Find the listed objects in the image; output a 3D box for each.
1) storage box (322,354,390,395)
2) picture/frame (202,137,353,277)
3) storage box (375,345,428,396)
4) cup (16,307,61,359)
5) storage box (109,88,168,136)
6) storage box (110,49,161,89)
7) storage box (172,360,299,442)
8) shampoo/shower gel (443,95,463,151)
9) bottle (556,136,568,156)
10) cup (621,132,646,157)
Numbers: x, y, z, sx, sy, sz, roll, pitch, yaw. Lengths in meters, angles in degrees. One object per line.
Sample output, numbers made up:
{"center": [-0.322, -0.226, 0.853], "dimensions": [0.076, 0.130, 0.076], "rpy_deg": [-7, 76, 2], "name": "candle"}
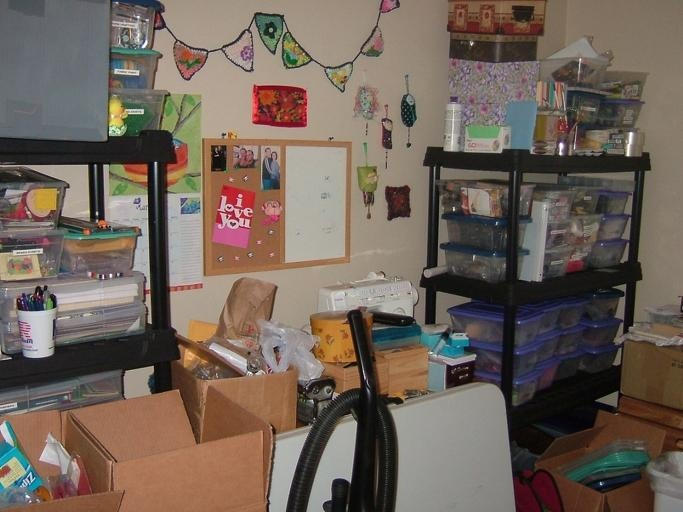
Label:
{"center": [0.042, 0.451, 2.036], "dimensions": [0.215, 0.142, 0.160], "rpy_deg": [-5, -7, 1], "name": "storage box"}
{"center": [-0.299, -0.221, 2.384], "dimensions": [0.623, 0.502, 0.026], "rpy_deg": [-1, 4, -36], "name": "picture/frame"}
{"center": [0.277, 0.470, 2.135], "dimensions": [0.240, 0.182, 0.125], "rpy_deg": [-19, -34, 39], "name": "storage box"}
{"center": [-0.845, 0.205, 1.579], "dimensions": [0.130, 0.147, 0.130], "rpy_deg": [0, 7, 0], "name": "cup"}
{"center": [-0.598, -0.419, 1.625], "dimensions": [0.164, 0.128, 0.052], "rpy_deg": [-6, 11, -22], "name": "storage box"}
{"center": [-0.632, -0.541, 1.678], "dimensions": [0.156, 0.119, 0.129], "rpy_deg": [2, -9, -12], "name": "storage box"}
{"center": [-0.320, 0.433, 1.770], "dimensions": [0.269, 0.168, 0.262], "rpy_deg": [2, 0, -37], "name": "storage box"}
{"center": [0.537, -0.606, 2.630], "dimensions": [0.087, 0.222, 0.151], "rpy_deg": [1, 10, 13], "name": "shampoo/shower gel"}
{"center": [1.047, -0.522, 2.595], "dimensions": [0.052, 0.098, 0.144], "rpy_deg": [4, 12, 29], "name": "bottle"}
{"center": [1.462, -0.549, 2.780], "dimensions": [0.122, 0.135, 0.126], "rpy_deg": [-1, 8, 0], "name": "cup"}
